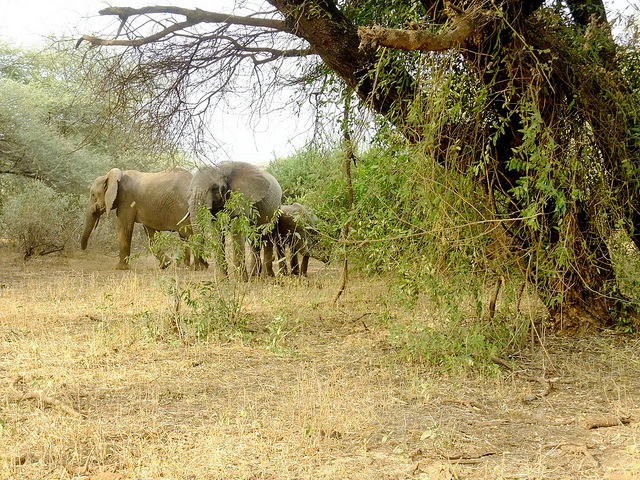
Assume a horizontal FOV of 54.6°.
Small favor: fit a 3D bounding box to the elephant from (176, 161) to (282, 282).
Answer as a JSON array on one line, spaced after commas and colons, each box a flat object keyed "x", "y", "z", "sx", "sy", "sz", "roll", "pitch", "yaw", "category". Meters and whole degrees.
[{"x": -1.653, "y": -0.414, "z": 12.095, "sx": 1.676, "sy": 2.184, "sz": 2.732, "roll": -1, "pitch": -3, "yaw": 31, "category": "elephant"}]

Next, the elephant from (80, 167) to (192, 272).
[{"x": -3.937, "y": -0.451, "z": 13.626, "sx": 2.741, "sy": 2.256, "sz": 1.346, "roll": 3, "pitch": 3, "yaw": 4, "category": "elephant"}]

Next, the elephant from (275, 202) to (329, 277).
[{"x": -0.467, "y": -0.142, "z": 12.461, "sx": 0.871, "sy": 1.310, "sz": 1.800, "roll": -7, "pitch": 0, "yaw": -35, "category": "elephant"}]
